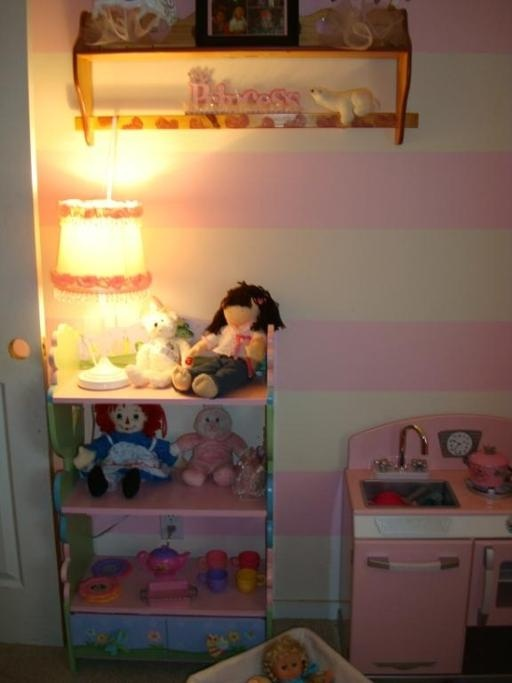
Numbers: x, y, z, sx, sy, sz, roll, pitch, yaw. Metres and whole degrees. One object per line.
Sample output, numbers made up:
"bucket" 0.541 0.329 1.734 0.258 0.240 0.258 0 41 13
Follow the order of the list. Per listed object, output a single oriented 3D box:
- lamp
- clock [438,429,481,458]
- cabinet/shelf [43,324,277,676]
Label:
"lamp" -0.504 -0.172 2.064 0.296 0.595 0.416 -4 16 -9
"clock" 0.763 0.381 2.274 0.162 0.108 0.035 0 15 -1
"cabinet/shelf" -0.305 0.662 2.314 0.803 0.938 0.391 -1 4 4
